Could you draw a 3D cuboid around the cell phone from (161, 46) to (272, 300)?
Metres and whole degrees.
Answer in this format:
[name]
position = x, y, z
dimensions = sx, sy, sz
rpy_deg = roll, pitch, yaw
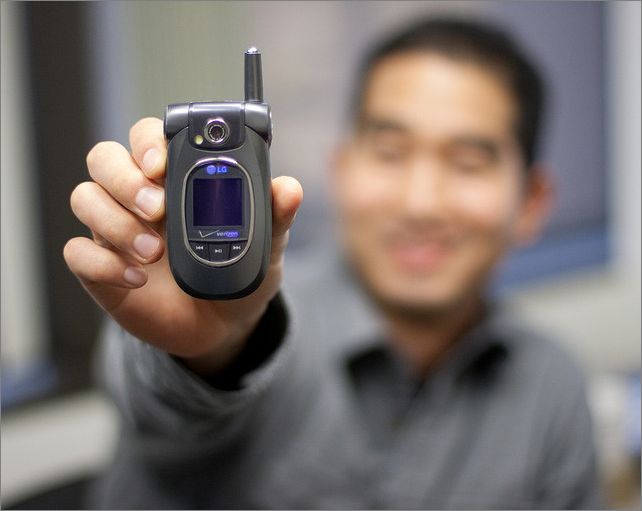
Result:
[cell phone]
position = -0.120, -0.066, 0.806
dimensions = 0.132, 0.221, 0.082
rpy_deg = -5, 18, -5
